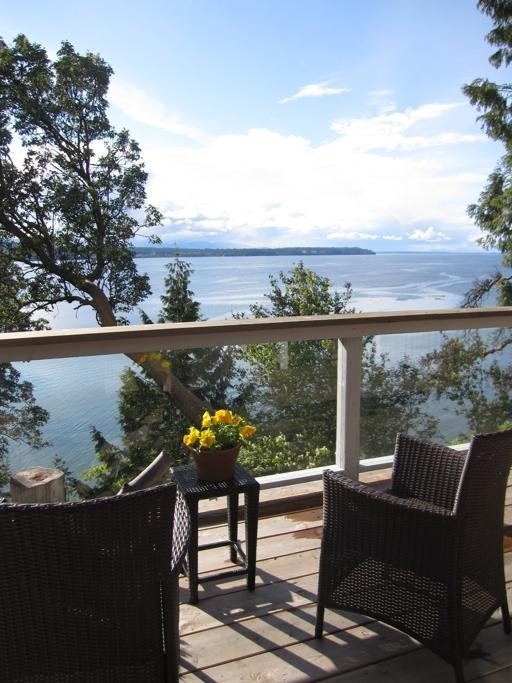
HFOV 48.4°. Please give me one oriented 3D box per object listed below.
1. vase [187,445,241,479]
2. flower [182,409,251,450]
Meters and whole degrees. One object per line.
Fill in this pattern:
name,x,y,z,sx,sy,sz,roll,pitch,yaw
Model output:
vase,-0.141,0.423,2.020,0.132,0.078,0.127,-1,-6,0
flower,-0.137,0.321,2.063,0.181,0.136,0.246,-2,5,0
